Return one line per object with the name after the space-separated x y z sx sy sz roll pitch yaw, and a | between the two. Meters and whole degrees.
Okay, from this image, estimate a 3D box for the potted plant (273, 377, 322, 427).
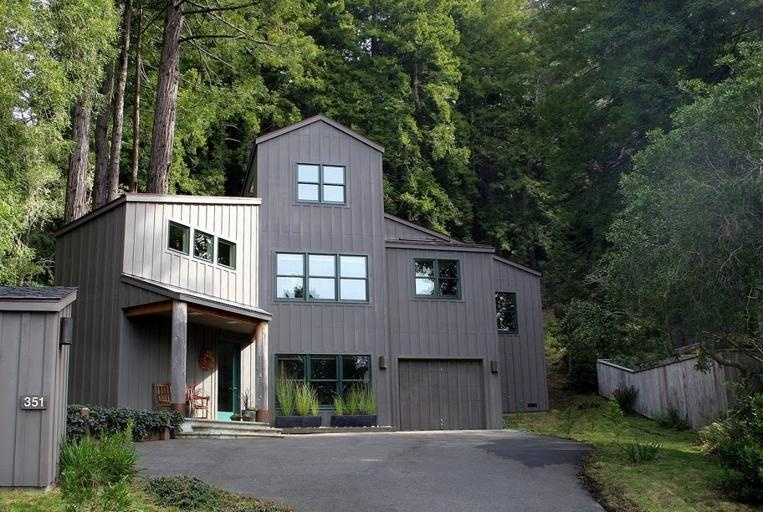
-2.716 4.654 22.521 1.573 1.797 1.198 2 29 -7 | potted plant

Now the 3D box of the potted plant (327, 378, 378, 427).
-0.694 5.011 23.077 1.633 1.712 1.009 9 -13 -43 | potted plant

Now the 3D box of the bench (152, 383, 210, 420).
-6.085 4.290 20.675 1.827 1.267 0.738 12 -37 -39 | bench
